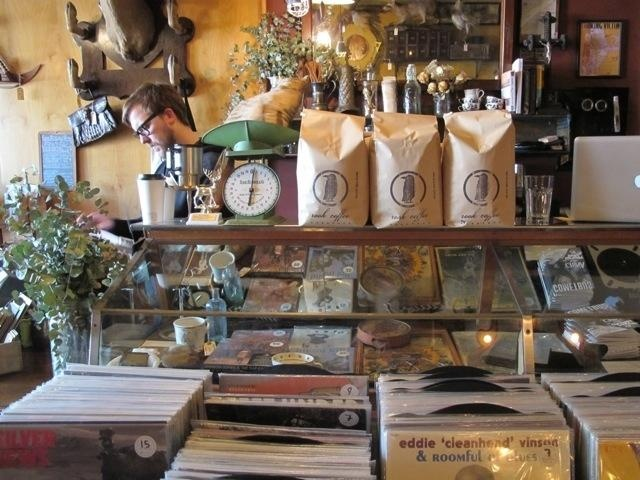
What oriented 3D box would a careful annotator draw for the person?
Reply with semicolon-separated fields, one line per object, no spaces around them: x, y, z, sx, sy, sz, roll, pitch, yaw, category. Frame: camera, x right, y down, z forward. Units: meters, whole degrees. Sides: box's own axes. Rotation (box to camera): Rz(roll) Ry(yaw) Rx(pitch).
-0.855;-0.567;3.355;1.051;0.992;0.692;-13;13;-22;person

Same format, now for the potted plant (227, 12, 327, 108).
-0.354;-1.322;3.998;0.549;0.704;0.675;-6;9;-31;potted plant

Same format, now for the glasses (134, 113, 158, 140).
-0.926;-0.613;2.980;0.032;0.114;0.116;40;-15;-30;glasses

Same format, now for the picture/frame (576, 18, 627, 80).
2.091;-1.447;4.100;0.466;0.501;0.024;0;5;-1;picture/frame

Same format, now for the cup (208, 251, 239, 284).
-0.326;0.092;1.827;0.103;0.098;0.095;1;8;0;cup

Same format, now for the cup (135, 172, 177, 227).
-0.561;-0.137;1.942;0.154;0.155;0.168;0;1;0;cup

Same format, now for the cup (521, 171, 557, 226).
0.739;-0.141;1.953;0.155;0.224;0.152;-1;3;0;cup

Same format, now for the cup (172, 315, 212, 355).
-0.415;0.304;1.760;0.129;0.092;0.098;-1;4;-19;cup

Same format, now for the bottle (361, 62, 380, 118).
0.358;-1.068;3.962;0.120;0.382;0.272;-1;8;4;bottle

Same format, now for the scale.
-0.193;-0.234;1.984;0.396;0.333;0.336;1;2;13;scale
